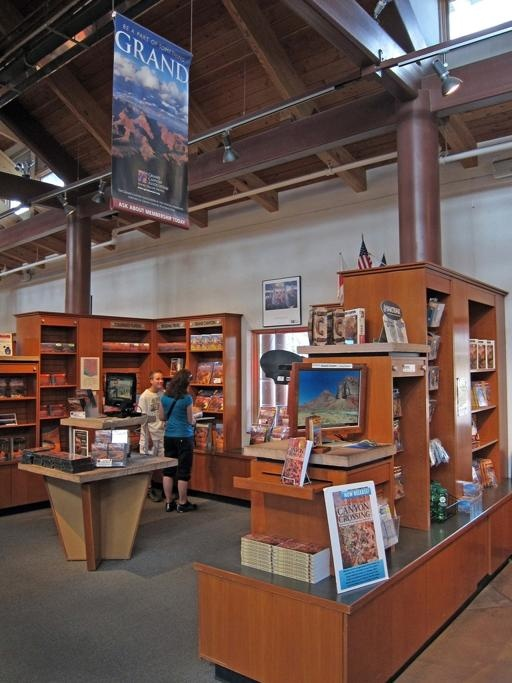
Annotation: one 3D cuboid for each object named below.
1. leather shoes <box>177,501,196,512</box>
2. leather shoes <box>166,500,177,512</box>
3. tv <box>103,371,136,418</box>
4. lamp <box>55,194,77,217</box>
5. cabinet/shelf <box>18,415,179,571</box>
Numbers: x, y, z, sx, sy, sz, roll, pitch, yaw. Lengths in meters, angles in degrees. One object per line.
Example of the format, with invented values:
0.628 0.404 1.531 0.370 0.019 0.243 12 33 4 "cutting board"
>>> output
-0.846 2.032 6.773 0.102 0.118 0.264 2 2 38 "leather shoes"
-1.043 2.033 6.784 0.067 0.074 0.174 1 1 8 "leather shoes"
-1.561 0.627 6.330 0.506 0.561 0.183 -8 -18 28 "tv"
-2.903 -2.099 8.445 0.134 0.245 0.237 -32 -33 16 "lamp"
-1.299 1.435 5.176 1.358 1.588 1.238 1 3 44 "cabinet/shelf"
